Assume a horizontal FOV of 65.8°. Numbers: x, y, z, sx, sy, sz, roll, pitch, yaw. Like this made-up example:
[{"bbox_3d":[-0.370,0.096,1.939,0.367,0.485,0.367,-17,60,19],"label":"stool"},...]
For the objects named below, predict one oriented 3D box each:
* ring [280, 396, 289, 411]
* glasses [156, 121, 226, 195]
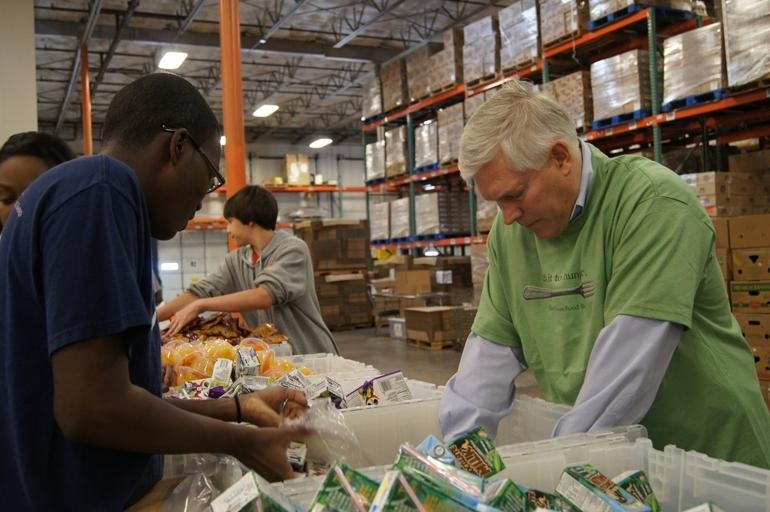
[{"bbox_3d":[-0.322,0.470,1.906,0.011,0.010,0.046,-9,47,34],"label":"ring"},{"bbox_3d":[-0.545,-0.284,1.706,0.043,0.158,0.148,-30,5,-29],"label":"glasses"}]
